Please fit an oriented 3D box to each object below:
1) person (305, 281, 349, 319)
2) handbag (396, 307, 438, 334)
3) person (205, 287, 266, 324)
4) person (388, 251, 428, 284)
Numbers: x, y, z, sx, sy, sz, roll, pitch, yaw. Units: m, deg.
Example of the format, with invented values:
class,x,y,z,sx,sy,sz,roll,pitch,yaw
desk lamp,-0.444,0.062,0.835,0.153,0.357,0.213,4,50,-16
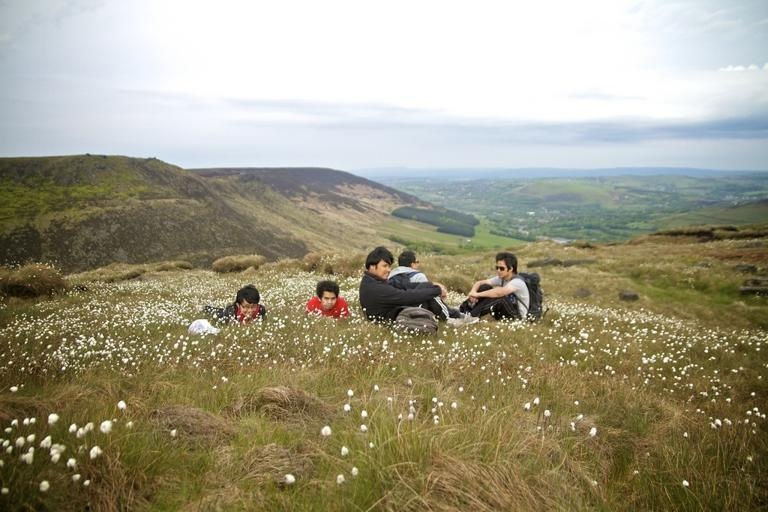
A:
class,x,y,z,sx,sy,sz,roll,pitch,yaw
person,-1.811,1.353,13.817,1.361,1.246,0.840,5,14,-8
handbag,0.872,1.838,12.539,1.186,0.594,0.877,-1,18,0
person,-4.498,1.504,13.524,1.073,0.754,1.709,-2,2,-37
person,0.771,0.414,14.023,1.496,0.788,0.923,1,5,30
